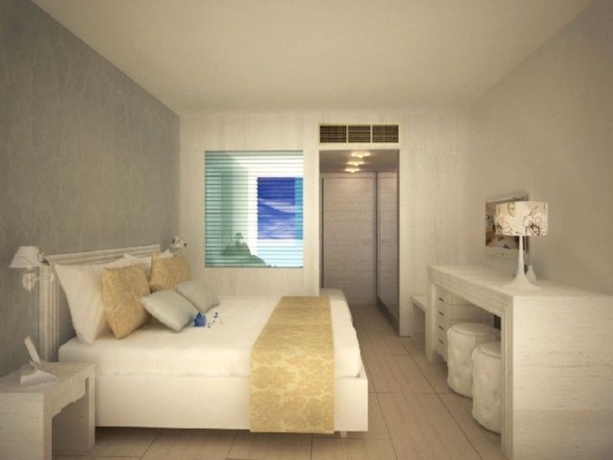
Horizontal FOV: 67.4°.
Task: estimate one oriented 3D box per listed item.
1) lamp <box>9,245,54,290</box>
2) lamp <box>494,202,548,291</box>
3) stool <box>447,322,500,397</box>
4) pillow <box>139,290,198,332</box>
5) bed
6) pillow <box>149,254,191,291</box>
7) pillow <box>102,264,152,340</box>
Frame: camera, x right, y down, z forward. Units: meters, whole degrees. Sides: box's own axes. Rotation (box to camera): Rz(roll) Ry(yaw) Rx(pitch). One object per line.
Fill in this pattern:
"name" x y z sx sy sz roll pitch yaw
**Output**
"lamp" -2.089 0.274 3.511 0.303 0.440 0.303 1 0 -7
"lamp" 1.822 0.157 3.785 0.395 0.679 0.389 12 -4 22
"stool" 1.602 1.227 4.374 0.508 0.610 0.481 2 7 21
"pillow" -1.220 0.665 4.181 0.436 0.155 0.474 11 12 -21
"bed" -0.995 1.038 4.044 1.800 0.983 1.794 -1 -3 -1
"pillow" -1.306 0.407 4.550 0.163 0.405 0.463 -10 -3 26
"pillow" -1.583 0.590 4.056 0.228 0.606 0.621 -8 2 5
